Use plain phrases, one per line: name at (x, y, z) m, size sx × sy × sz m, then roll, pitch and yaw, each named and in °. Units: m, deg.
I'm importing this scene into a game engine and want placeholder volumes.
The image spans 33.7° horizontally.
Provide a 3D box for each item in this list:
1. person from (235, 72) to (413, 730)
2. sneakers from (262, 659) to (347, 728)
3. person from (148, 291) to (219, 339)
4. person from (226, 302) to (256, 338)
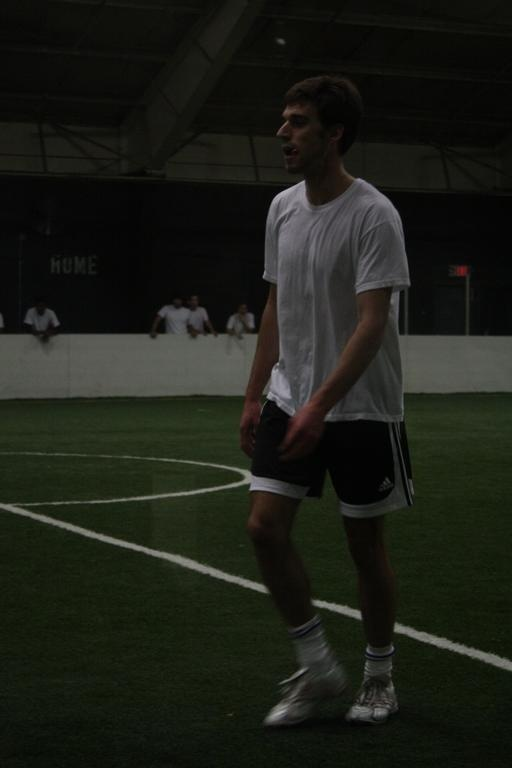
person at (0.137, 0.051, 2.021) m, size 0.487 × 1.571 × 0.506 m, roll 1°, pitch 2°, yaw 25°
sneakers at (0.121, 0.763, 2.045) m, size 0.222 × 0.106 × 0.075 m, roll -37°, pitch 18°, yaw -8°
person at (-1.705, -1.551, 19.604) m, size 1.247 × 0.975 × 3.628 m, roll 0°, pitch 3°, yaw -5°
person at (-0.334, -1.383, 18.980) m, size 0.506 × 0.634 × 0.855 m, roll 5°, pitch -2°, yaw -1°
